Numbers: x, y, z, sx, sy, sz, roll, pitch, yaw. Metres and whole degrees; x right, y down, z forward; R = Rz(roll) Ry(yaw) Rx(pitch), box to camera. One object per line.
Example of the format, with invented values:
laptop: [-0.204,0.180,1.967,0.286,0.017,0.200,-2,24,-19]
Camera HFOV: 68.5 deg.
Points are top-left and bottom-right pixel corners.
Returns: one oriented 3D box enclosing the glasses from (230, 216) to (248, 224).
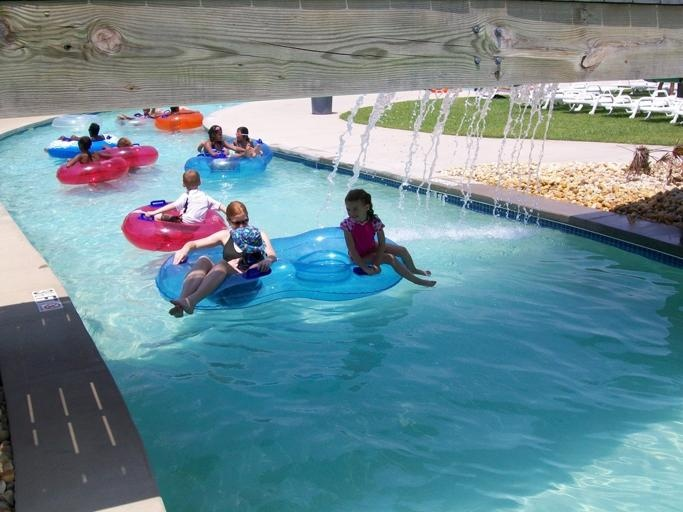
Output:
glasses: [-1.050,-0.377,5.117,0.135,0.102,0.099,-8,17,-22]

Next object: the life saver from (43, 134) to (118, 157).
life saver: [-6.181,-2.548,11.727,1.491,0.260,1.264,4,11,25]

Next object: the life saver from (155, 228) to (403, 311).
life saver: [-0.674,0.168,5.031,2.169,0.252,0.965,-4,15,-12]

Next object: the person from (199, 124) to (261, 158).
person: [-2.301,-2.259,10.258,1.263,0.509,1.038,-4,15,-18]

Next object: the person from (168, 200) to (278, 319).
person: [-1.341,-0.058,5.034,1.232,0.935,1.087,-13,23,-35]

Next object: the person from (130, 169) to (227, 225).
person: [-2.204,-0.770,6.827,1.058,0.537,1.059,6,14,25]

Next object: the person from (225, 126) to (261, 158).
person: [-2.017,-2.345,10.294,0.753,0.551,0.847,-15,36,-18]
